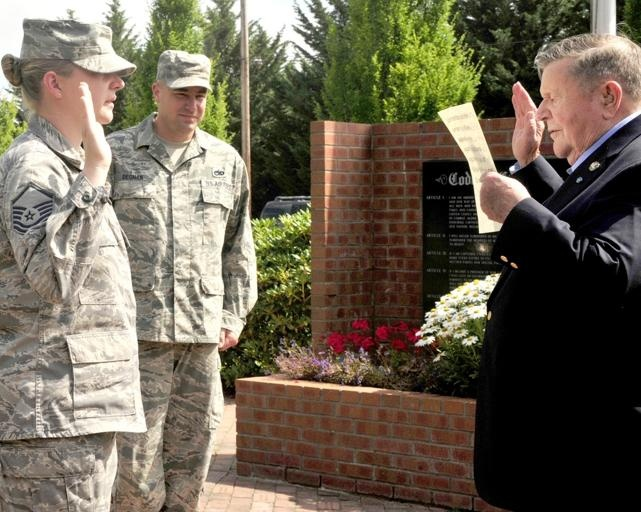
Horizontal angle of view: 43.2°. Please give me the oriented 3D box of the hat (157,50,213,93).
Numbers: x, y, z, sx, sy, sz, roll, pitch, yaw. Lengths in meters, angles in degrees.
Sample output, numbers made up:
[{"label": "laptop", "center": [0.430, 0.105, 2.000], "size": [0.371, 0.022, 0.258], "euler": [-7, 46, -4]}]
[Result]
[{"label": "hat", "center": [-0.796, -1.059, 4.655], "size": [0.266, 0.137, 0.308], "euler": [1, 7, -20]}]
